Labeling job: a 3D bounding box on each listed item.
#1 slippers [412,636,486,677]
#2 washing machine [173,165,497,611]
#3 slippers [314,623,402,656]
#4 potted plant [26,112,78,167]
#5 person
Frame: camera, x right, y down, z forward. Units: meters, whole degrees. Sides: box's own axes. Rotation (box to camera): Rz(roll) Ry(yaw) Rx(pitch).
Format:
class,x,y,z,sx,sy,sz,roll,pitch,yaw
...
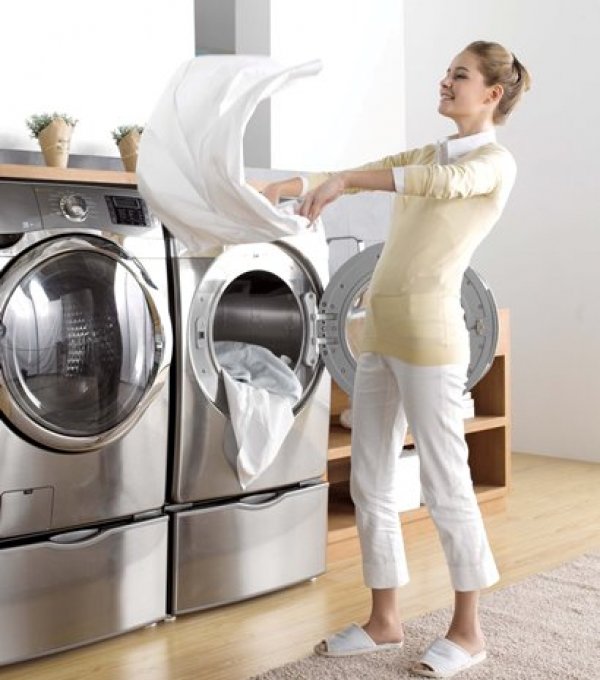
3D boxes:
class,x,y,z,sx,sy,sz,roll,pitch,yaw
slippers,0.302,0.663,1.274,0.146,0.042,0.057,5,-9,-39
washing machine,0.145,0.112,2.287,0.976,1.711,0.911,-3,9,-33
slippers,0.129,0.667,1.391,0.204,0.057,0.069,3,-10,-9
potted plant,-0.669,-0.528,1.678,0.139,0.132,0.125,-16,7,1
person,0.225,0.033,1.311,0.483,1.248,0.555,-1,0,28
